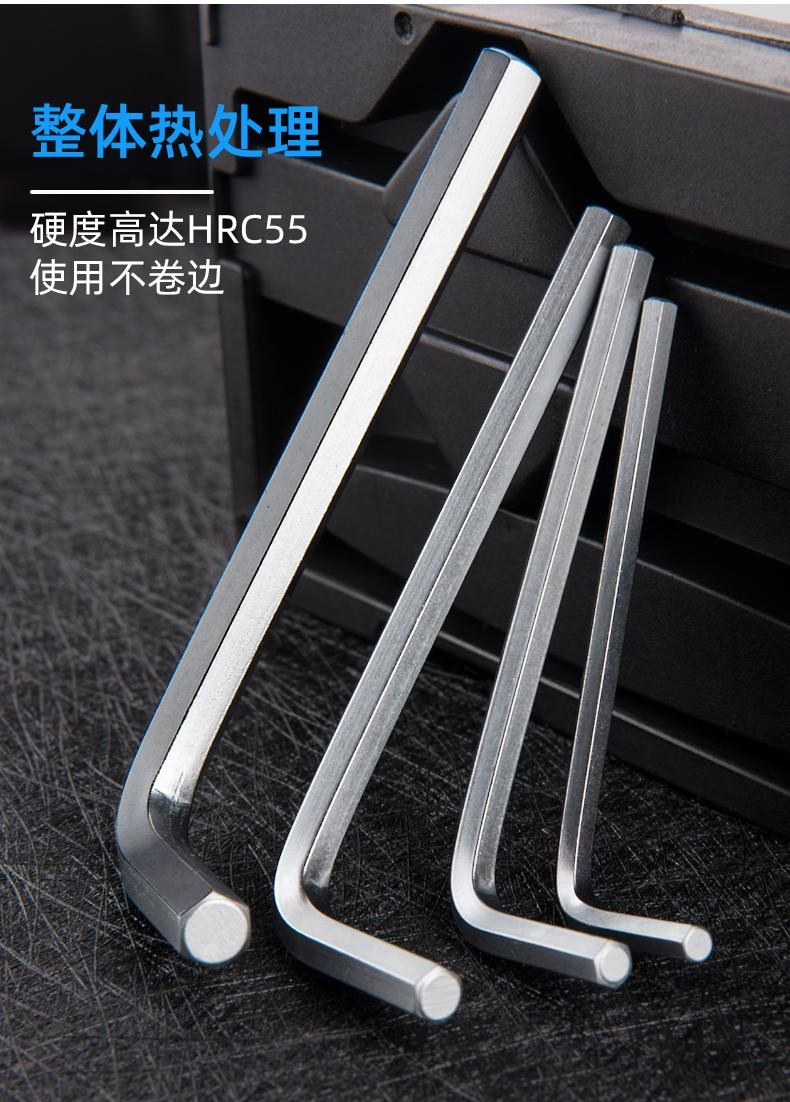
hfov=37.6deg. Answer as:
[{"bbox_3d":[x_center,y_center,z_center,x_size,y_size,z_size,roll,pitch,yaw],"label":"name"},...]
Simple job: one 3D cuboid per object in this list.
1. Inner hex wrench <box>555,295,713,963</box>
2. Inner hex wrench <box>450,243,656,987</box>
[{"bbox_3d":[0.125,0.044,0.567,0.025,0.299,0.077,15,-15,-36],"label":"Inner hex wrench"},{"bbox_3d":[0.086,0.050,0.557,0.026,0.294,0.090,16,-9,-43],"label":"Inner hex wrench"}]
